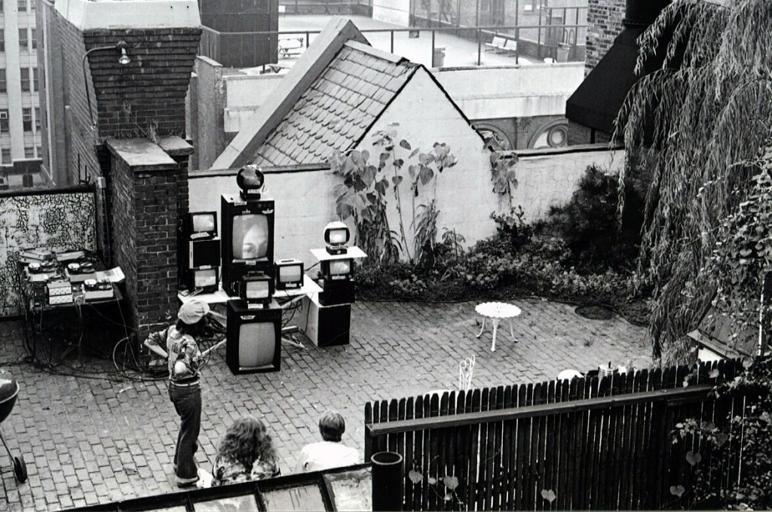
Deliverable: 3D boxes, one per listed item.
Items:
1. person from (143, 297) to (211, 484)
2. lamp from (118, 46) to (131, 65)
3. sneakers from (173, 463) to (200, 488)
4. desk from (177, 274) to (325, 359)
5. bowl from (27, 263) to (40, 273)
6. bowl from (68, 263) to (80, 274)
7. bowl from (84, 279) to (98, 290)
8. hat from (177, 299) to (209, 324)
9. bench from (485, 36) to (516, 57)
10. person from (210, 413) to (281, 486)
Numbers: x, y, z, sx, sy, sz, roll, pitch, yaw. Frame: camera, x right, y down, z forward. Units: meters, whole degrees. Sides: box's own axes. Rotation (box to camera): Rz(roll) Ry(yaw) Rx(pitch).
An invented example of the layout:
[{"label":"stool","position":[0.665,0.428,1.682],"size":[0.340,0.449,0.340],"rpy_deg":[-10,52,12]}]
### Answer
[{"label":"person","position":[-2.943,1.904,13.709],"size":[0.731,2.716,1.147],"rpy_deg":[-5,12,-20]},{"label":"lamp","position":[-4.445,-3.429,16.077],"size":[0.103,0.126,0.347],"rpy_deg":[-2,48,-12]},{"label":"sneakers","position":[-2.848,3.180,13.631],"size":[0.492,0.236,0.194],"rpy_deg":[6,27,-8]},{"label":"desk","position":[-2.188,0.878,16.803],"size":[2.263,1.243,1.300],"rpy_deg":[-6,23,-20]},{"label":"bowl","position":[-6.082,0.202,16.340],"size":[0.230,0.148,0.357],"rpy_deg":[-6,14,-25]},{"label":"bowl","position":[-5.423,0.213,16.461],"size":[0.236,0.130,0.253],"rpy_deg":[0,13,0]},{"label":"bowl","position":[-5.011,0.485,16.030],"size":[0.197,0.141,0.145],"rpy_deg":[-4,13,-15]},{"label":"hat","position":[-2.688,0.771,13.244],"size":[0.371,0.302,0.464],"rpy_deg":[0,12,1]},{"label":"bench","position":[3.636,-6.562,29.286],"size":[1.047,0.620,0.608],"rpy_deg":[-2,12,-9]},{"label":"person","position":[-1.798,2.500,12.365],"size":[0.799,1.200,0.759],"rpy_deg":[2,40,-13]}]
